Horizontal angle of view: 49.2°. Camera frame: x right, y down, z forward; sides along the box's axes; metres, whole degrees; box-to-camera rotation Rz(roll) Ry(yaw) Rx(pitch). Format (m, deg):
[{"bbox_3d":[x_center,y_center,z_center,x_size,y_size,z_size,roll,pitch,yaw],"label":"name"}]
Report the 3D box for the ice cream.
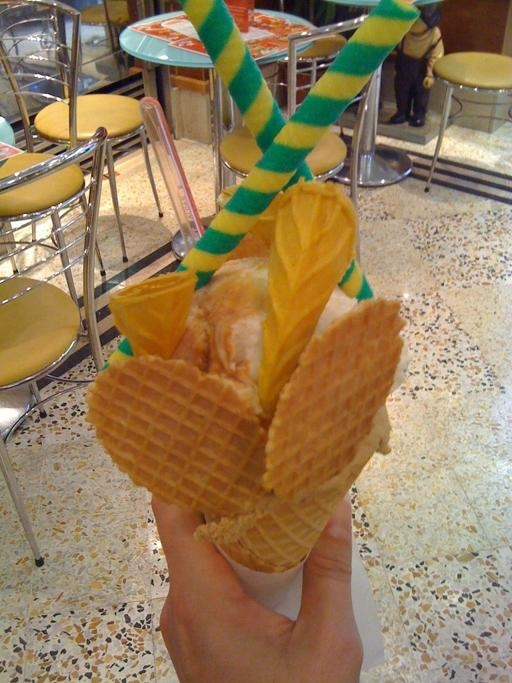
[{"bbox_3d":[0.008,0.048,0.461,0.201,0.352,0.212,13,37,17],"label":"ice cream"}]
